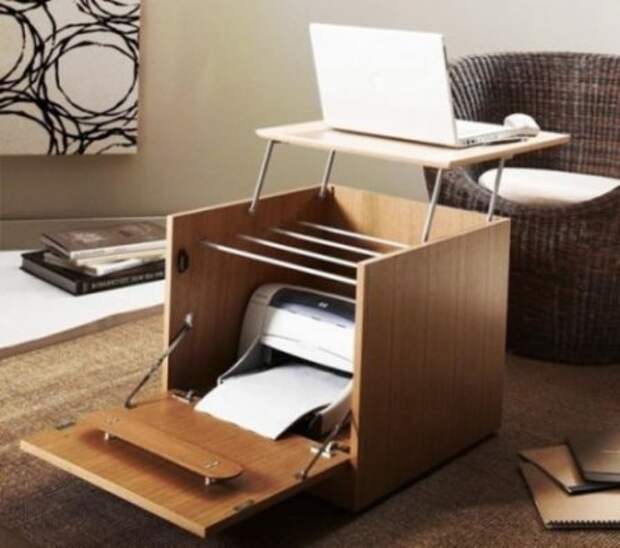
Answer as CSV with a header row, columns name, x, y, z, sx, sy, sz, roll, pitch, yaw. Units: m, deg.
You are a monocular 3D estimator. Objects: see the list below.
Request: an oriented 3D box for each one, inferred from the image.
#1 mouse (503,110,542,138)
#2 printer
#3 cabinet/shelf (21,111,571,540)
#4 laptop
name,x,y,z,sx,sy,sz,roll,pitch,yaw
mouse,0.504,-0.351,1.332,0.069,0.026,0.086,8,13,-6
printer,-0.040,0.203,1.276,0.312,0.167,0.420,11,28,39
cabinet/shelf,0.022,-0.015,1.500,1.403,0.759,0.751,-13,20,-43
laptop,0.248,-0.422,1.249,0.305,0.207,0.385,-20,33,-37
